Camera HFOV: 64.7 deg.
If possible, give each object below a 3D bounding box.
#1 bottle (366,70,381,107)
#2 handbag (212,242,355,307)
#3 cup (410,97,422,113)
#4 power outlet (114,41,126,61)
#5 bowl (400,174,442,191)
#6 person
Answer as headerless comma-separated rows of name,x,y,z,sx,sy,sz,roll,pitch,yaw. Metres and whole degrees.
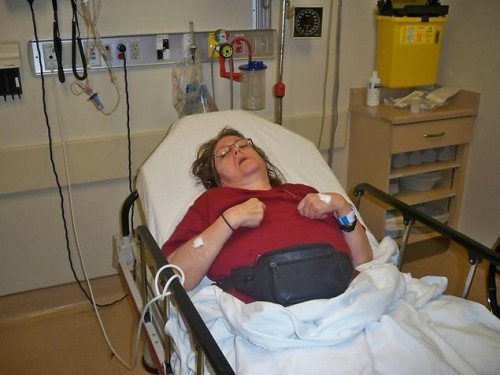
bottle,0.922,-0.734,2.951,0.105,0.249,0.138,5,20,17
handbag,0.183,0.340,1.606,0.345,0.143,0.268,-11,21,-16
cup,1.147,-0.568,2.743,0.084,0.107,0.083,-1,13,0
power outlet,-0.784,-0.817,2.364,0.054,0.091,0.029,-2,24,-8
bowl,1.316,-0.053,3.051,0.172,0.070,0.185,-3,12,1
person,0.009,0.105,2.122,0.985,0.532,1.175,-8,31,-21
